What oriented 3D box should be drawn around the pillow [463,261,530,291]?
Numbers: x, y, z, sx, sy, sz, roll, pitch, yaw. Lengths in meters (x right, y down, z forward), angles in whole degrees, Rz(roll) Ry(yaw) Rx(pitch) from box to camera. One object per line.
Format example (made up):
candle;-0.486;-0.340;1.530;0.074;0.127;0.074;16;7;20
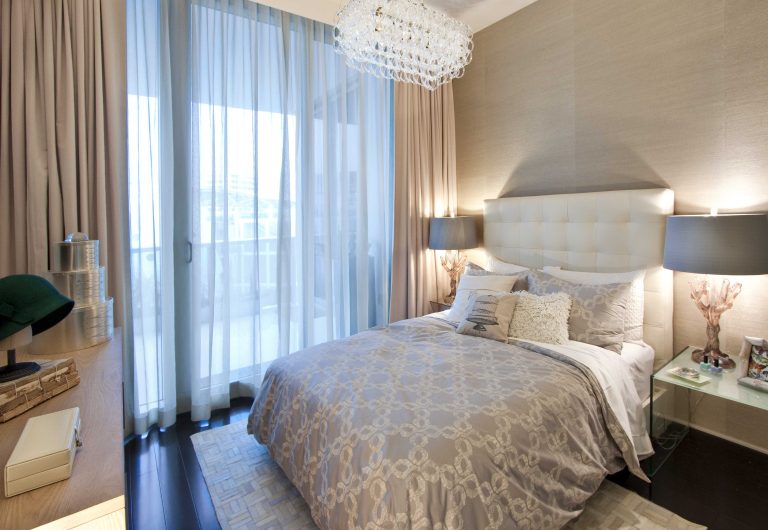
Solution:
pillow;1.015;0.095;4.378;0.272;0.102;0.314;-25;25;-39
